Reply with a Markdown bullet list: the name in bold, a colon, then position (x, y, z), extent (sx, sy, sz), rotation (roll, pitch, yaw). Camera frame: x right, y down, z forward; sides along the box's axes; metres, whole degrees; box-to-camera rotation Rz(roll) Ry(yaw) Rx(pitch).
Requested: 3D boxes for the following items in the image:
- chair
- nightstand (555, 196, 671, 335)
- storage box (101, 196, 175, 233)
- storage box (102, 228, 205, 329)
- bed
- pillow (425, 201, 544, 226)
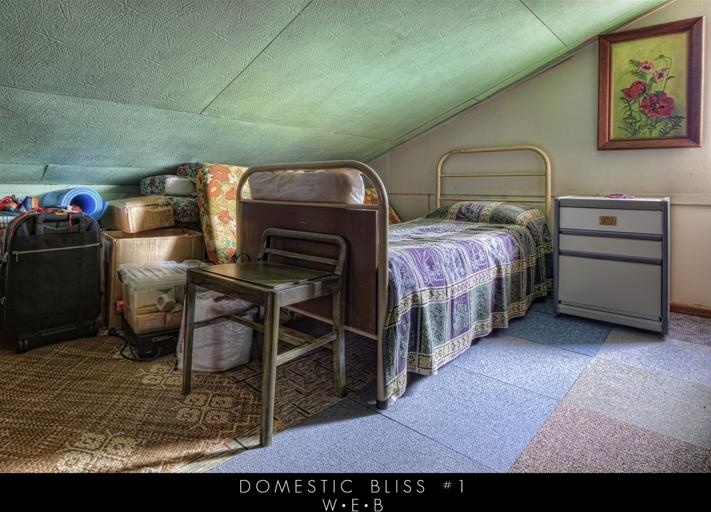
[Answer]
- **chair**: position (-0.426, 0.271, 2.227), extent (0.701, 0.741, 0.612), rotation (8, 11, 28)
- **nightstand**: position (1.742, -0.057, 3.134), extent (0.674, 0.786, 0.541), rotation (5, 19, 37)
- **storage box**: position (-1.482, -0.352, 3.150), extent (0.281, 0.176, 0.381), rotation (11, 13, 43)
- **storage box**: position (-1.341, -0.011, 3.271), extent (0.846, 0.768, 0.570), rotation (-5, 14, -33)
- **bed**: position (0.350, -0.033, 3.130), extent (1.227, 1.122, 1.973), rotation (5, 9, 41)
- **pillow**: position (0.996, -0.333, 3.626), extent (0.557, 0.105, 0.308), rotation (5, 14, 40)
